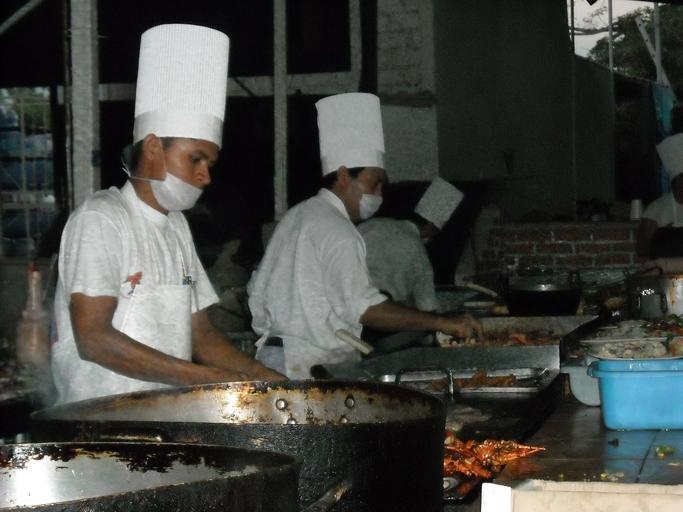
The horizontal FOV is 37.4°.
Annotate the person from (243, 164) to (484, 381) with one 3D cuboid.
[{"bbox_3d":[-0.009,0.252,4.945,0.957,1.398,1.019,-4,22,-23],"label":"person"}]

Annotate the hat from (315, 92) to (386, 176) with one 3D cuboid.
[{"bbox_3d":[0.084,-0.540,5.042,0.408,0.395,0.375,-5,-22,4],"label":"hat"}]

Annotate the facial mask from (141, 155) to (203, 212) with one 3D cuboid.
[{"bbox_3d":[-0.639,-0.274,3.821,0.161,0.079,0.152,35,4,12],"label":"facial mask"}]

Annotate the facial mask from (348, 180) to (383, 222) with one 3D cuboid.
[{"bbox_3d":[0.117,-0.261,4.837,0.171,0.123,0.153,18,-1,2],"label":"facial mask"}]

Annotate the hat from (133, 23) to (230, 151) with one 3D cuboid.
[{"bbox_3d":[-0.575,-0.627,4.095,0.472,0.486,0.425,7,-7,-3],"label":"hat"}]
